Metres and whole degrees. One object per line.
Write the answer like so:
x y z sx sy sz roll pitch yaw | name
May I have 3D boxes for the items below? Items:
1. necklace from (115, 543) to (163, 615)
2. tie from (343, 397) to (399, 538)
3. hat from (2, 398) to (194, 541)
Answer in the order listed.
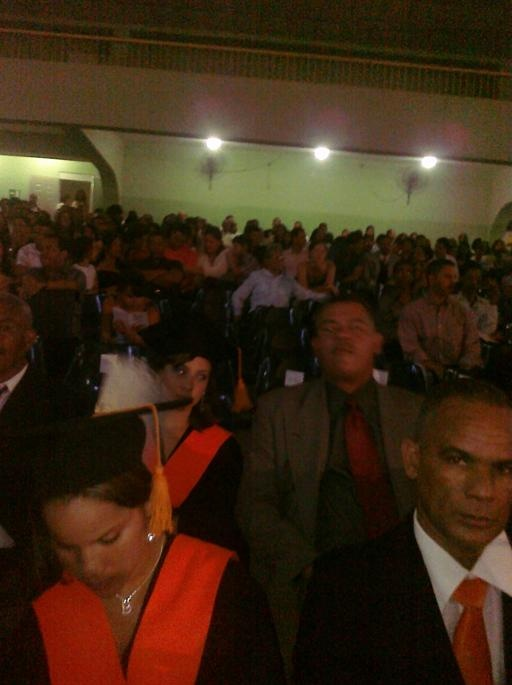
-0.257 0.565 1.325 0.037 0.153 0.109 21 -14 -30 | necklace
0.365 0.423 1.814 0.104 0.479 0.118 -13 -10 10 | tie
-0.413 0.268 1.434 0.472 0.366 0.323 -4 -3 -13 | hat
